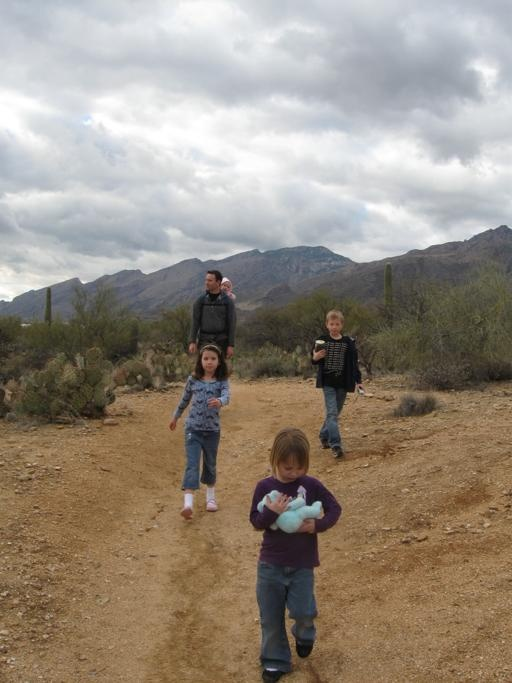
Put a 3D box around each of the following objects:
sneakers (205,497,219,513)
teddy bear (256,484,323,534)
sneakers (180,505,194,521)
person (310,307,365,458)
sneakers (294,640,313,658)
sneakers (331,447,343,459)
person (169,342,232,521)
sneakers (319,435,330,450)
[{"bbox_3d":[-0.403,1.468,4.817,0.078,0.093,0.246,0,-10,-5],"label":"sneakers"},{"bbox_3d":[0.195,0.772,2.470,0.283,0.146,0.216,8,13,-20],"label":"teddy bear"},{"bbox_3d":[-0.581,1.426,4.482,0.095,0.147,0.217,0,3,-7],"label":"sneakers"},{"bbox_3d":[0.949,0.467,6.295,0.523,1.670,1.431,0,3,8],"label":"person"},{"bbox_3d":[0.235,1.506,2.634,0.065,0.118,0.115,2,-25,2],"label":"sneakers"},{"bbox_3d":[0.931,1.245,6.023,0.062,0.136,0.185,3,-21,-17],"label":"sneakers"},{"bbox_3d":[-0.419,0.775,4.557,0.465,1.501,0.600,1,4,23],"label":"person"},{"bbox_3d":[0.844,1.252,6.575,0.119,0.175,0.105,-6,-14,26],"label":"sneakers"}]
